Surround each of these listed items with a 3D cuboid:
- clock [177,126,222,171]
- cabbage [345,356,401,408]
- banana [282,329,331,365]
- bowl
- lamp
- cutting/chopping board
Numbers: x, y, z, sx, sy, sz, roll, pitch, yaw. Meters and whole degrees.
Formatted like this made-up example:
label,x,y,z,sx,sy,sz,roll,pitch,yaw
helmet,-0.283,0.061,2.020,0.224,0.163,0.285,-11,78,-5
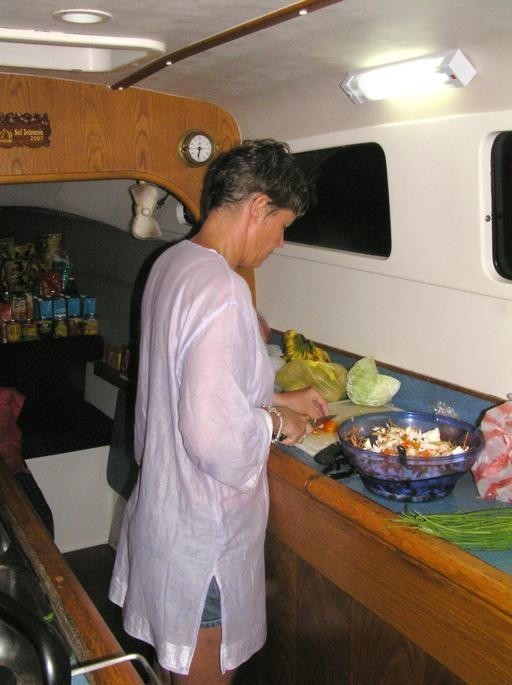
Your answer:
label,x,y,z,sx,sy,sz,roll,pitch,yaw
clock,-0.214,-0.751,2.089,0.127,0.127,0.112,-11,20,-33
cabbage,0.404,0.128,1.798,0.140,0.162,0.137,-8,19,-30
banana,0.175,0.017,2.080,0.156,0.115,0.168,-6,17,-19
bowl,0.333,0.249,1.207,0.299,0.134,0.329,2,10,9
lamp,0.360,-0.623,1.291,0.119,0.093,0.371,-6,11,-30
cutting/chopping board,0.218,0.217,1.353,0.287,0.059,0.337,-6,17,-25
